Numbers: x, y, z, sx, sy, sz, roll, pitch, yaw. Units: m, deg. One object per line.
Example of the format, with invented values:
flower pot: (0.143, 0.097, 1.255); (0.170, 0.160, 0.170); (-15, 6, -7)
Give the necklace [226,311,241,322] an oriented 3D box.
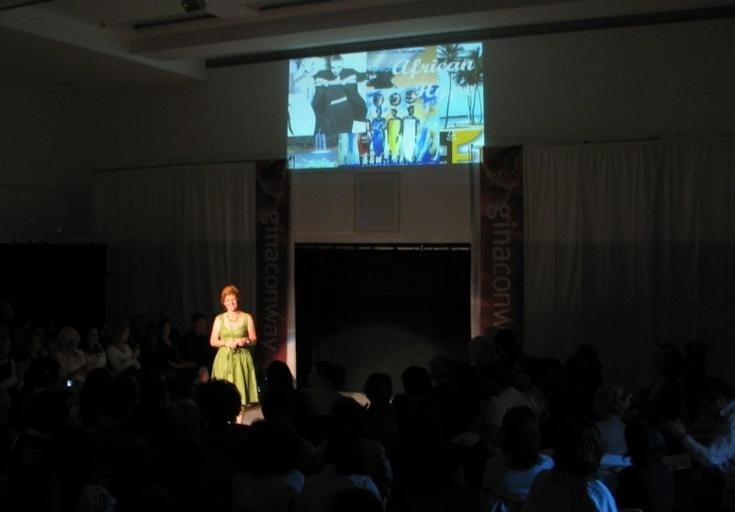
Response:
necklace: (-1.685, 0.766, 7.787); (0.133, 0.145, 0.041); (-4, 4, -9)
